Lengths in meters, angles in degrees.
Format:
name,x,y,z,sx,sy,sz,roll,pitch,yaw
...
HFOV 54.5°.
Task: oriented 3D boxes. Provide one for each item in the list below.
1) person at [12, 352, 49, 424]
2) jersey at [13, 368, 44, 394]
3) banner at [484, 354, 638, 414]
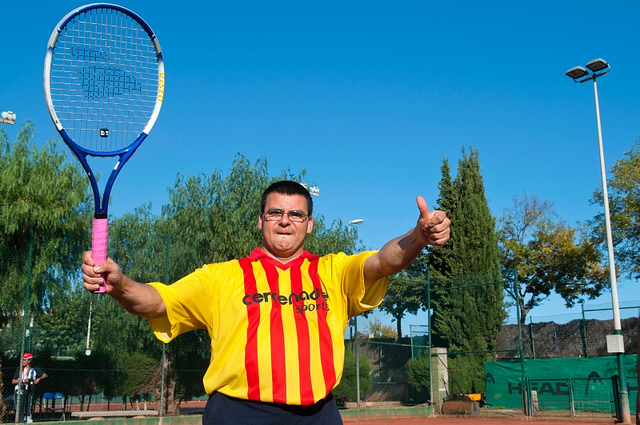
name,x,y,z,sx,sy,sz,roll,pitch,yaw
person,-8.808,5.221,18.668,0.727,2.029,1.047,-1,-13,-1
jersey,-8.659,5.210,18.860,1.021,0.325,0.788,0,-24,-18
banner,9.466,6.868,24.713,5.681,2.125,1.173,-12,-17,34
